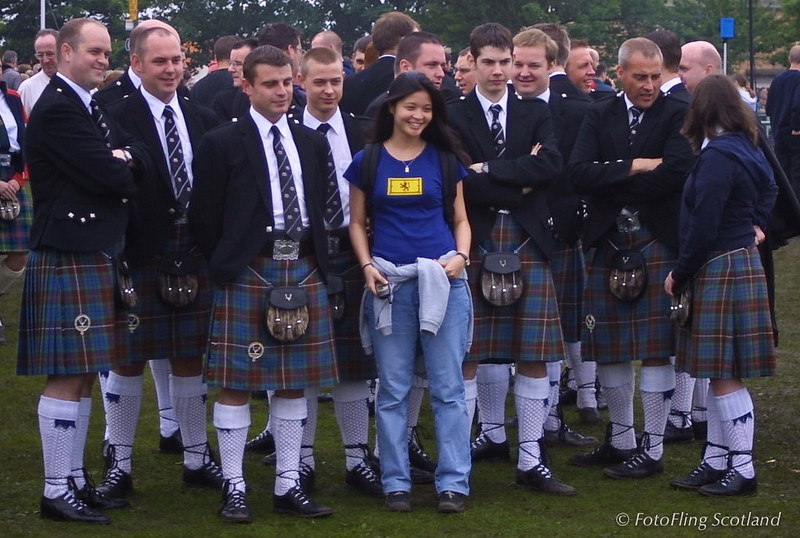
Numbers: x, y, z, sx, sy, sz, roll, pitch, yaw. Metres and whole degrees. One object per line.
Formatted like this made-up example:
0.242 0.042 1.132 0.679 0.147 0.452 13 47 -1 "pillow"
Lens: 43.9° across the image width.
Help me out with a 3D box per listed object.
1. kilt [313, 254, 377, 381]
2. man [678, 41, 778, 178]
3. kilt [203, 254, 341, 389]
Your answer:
-0.321 0.302 6.042 0.549 0.640 0.162 -5 3 -17 "kilt"
2.122 -1.212 6.791 0.719 0.693 0.388 -14 5 -34 "man"
-0.724 0.303 5.597 0.883 0.716 0.431 0 -2 -7 "kilt"
